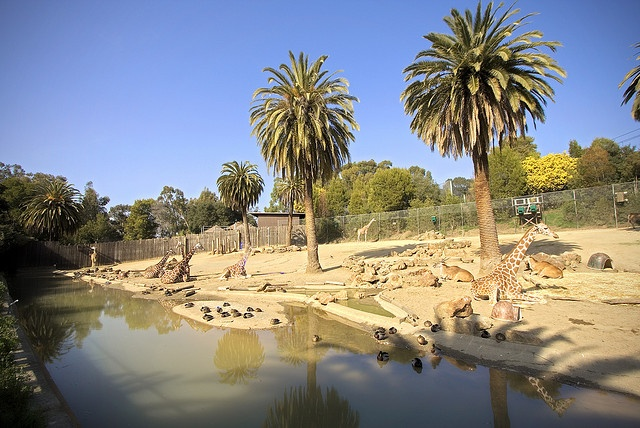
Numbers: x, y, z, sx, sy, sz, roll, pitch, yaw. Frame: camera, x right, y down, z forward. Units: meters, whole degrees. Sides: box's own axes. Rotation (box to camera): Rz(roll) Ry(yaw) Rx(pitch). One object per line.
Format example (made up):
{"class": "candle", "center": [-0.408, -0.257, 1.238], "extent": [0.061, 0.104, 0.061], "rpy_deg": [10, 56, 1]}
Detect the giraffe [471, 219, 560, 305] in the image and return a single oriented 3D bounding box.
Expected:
{"class": "giraffe", "center": [7.778, 2.174, 13.909], "extent": [3.212, 3.261, 1.601], "rpy_deg": [-9, -5, 28]}

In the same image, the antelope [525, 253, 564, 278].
{"class": "antelope", "center": [10.809, 2.558, 16.661], "extent": [0.694, 1.103, 2.000], "rpy_deg": [15, -2, -21]}

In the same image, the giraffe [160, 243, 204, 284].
{"class": "giraffe", "center": [-9.853, 3.652, 23.677], "extent": [2.317, 2.231, 1.243], "rpy_deg": [-7, 11, -21]}
